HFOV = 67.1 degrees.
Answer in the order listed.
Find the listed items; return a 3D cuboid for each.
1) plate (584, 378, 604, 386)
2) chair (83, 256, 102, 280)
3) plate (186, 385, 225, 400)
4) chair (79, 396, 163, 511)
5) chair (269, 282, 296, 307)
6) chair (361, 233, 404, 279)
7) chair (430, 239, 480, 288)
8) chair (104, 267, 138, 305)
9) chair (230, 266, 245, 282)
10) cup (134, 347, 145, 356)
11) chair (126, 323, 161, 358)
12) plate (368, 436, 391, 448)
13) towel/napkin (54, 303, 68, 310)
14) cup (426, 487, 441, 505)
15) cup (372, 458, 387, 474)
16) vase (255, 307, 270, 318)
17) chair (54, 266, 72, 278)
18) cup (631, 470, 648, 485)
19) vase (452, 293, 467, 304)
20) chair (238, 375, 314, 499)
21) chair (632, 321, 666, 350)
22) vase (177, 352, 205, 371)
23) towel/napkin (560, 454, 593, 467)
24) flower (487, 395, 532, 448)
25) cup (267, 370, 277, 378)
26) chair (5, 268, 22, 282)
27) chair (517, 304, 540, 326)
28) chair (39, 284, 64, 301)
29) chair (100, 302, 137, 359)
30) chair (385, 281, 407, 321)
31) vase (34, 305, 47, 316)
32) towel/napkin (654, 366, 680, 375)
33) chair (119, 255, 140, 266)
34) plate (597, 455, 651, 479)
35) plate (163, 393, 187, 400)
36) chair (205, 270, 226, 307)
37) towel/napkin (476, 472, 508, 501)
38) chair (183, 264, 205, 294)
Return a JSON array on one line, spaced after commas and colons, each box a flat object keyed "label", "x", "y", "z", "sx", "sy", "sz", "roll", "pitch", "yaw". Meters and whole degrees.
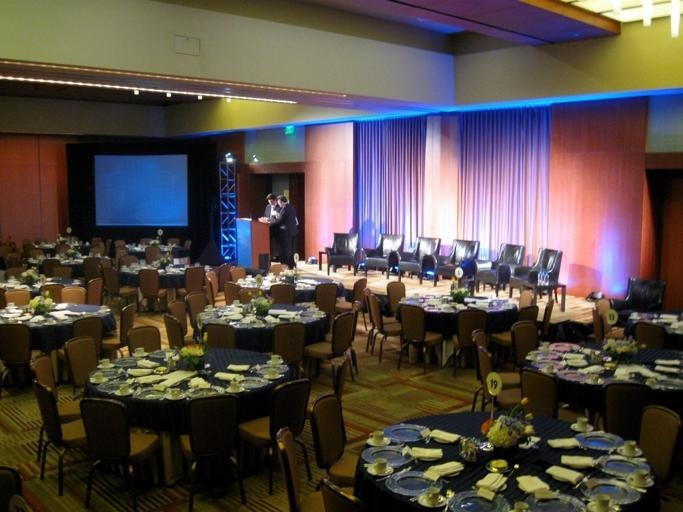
[{"label": "plate", "x": 2.636, "y": 1.309, "z": 5.368, "sx": 0.108, "sy": 0.030, "sz": 0.110, "roll": 3, "pitch": 10, "yaw": 42}, {"label": "chair", "x": -6.211, "y": 0.321, "z": 12.853, "sx": 0.900, "sy": 0.544, "sz": 0.334, "roll": 3, "pitch": 5, "yaw": 36}, {"label": "plate", "x": -1.366, "y": 1.340, "z": 5.110, "sx": 0.283, "sy": 0.052, "sz": 0.213, "roll": -2, "pitch": 6, "yaw": -11}, {"label": "chair", "x": -2.095, "y": 1.797, "z": 4.920, "sx": 0.689, "sy": 1.099, "sz": 0.733, "roll": -2, "pitch": 5, "yaw": -22}, {"label": "chair", "x": -1.060, "y": 0.683, "z": 9.393, "sx": 0.329, "sy": 0.639, "sz": 0.379, "roll": 4, "pitch": 14, "yaw": 0}, {"label": "chair", "x": 1.252, "y": -0.061, "z": 15.015, "sx": 1.226, "sy": 1.408, "sz": 1.317, "roll": -5, "pitch": -8, "yaw": 10}, {"label": "chair", "x": 2.936, "y": 0.220, "z": 13.249, "sx": 1.025, "sy": 1.313, "sz": 1.049, "roll": 2, "pitch": -2, "yaw": -15}, {"label": "chair", "x": -5.005, "y": 0.728, "z": 11.645, "sx": 0.534, "sy": 0.995, "sz": 0.664, "roll": 0, "pitch": 6, "yaw": 16}, {"label": "chair", "x": -2.366, "y": 0.400, "z": 11.546, "sx": 0.274, "sy": 0.395, "sz": 0.310, "roll": -2, "pitch": 5, "yaw": -41}, {"label": "cup", "x": -2.408, "y": 1.134, "z": 6.129, "sx": 0.116, "sy": 0.092, "sz": 0.092, "roll": -2, "pitch": -2, "yaw": -14}, {"label": "chair", "x": -2.579, "y": 1.064, "z": 6.696, "sx": 0.359, "sy": 0.653, "sz": 0.377, "roll": -1, "pitch": 3, "yaw": -30}, {"label": "plate", "x": 0.296, "y": 1.499, "z": 4.190, "sx": 0.106, "sy": 0.043, "sz": 0.113, "roll": -3, "pitch": 5, "yaw": -8}, {"label": "towel/napkin", "x": -4.563, "y": 0.829, "z": 8.370, "sx": 0.127, "sy": 0.041, "sz": 0.131, "roll": 2, "pitch": 7, "yaw": -6}, {"label": "cup", "x": 0.610, "y": 1.589, "z": 3.435, "sx": 0.090, "sy": 0.071, "sz": 0.069, "roll": 4, "pitch": 12, "yaw": 42}, {"label": "cup", "x": 0.278, "y": 1.539, "z": 3.796, "sx": 0.094, "sy": 0.073, "sz": 0.073, "roll": -6, "pitch": 12, "yaw": -16}, {"label": "vase", "x": -1.169, "y": 0.828, "z": 7.556, "sx": 0.134, "sy": 0.162, "sz": 0.138, "roll": -12, "pitch": 36, "yaw": -18}, {"label": "chair", "x": -6.281, "y": 0.355, "z": 11.623, "sx": 0.285, "sy": 0.413, "sz": 0.320, "roll": -1, "pitch": 5, "yaw": -21}, {"label": "cup", "x": 2.063, "y": 1.536, "z": 3.574, "sx": 0.088, "sy": 0.048, "sz": 0.095, "roll": -9, "pitch": 4, "yaw": 1}, {"label": "vase", "x": 1.971, "y": 0.697, "z": 8.595, "sx": 0.190, "sy": 0.183, "sz": 0.197, "roll": 0, "pitch": -1, "yaw": 6}, {"label": "chair", "x": -0.686, "y": 1.701, "z": 5.154, "sx": 0.557, "sy": 1.073, "sz": 0.650, "roll": -1, "pitch": 7, "yaw": -38}, {"label": "chair", "x": 4.127, "y": 1.074, "z": 6.925, "sx": 0.294, "sy": 0.450, "sz": 0.338, "roll": 7, "pitch": 9, "yaw": 37}, {"label": "vase", "x": -1.613, "y": 1.135, "z": 5.588, "sx": 0.246, "sy": 0.183, "sz": 0.257, "roll": 1, "pitch": -4, "yaw": 1}, {"label": "towel/napkin", "x": 1.765, "y": 1.534, "z": 3.844, "sx": 0.236, "sy": 0.053, "sz": 0.140, "roll": 1, "pitch": 4, "yaw": 21}, {"label": "flower", "x": 1.314, "y": 1.299, "z": 4.004, "sx": 0.439, "sy": 0.249, "sz": 0.296, "roll": -19, "pitch": 8, "yaw": -30}, {"label": "cup", "x": -0.737, "y": 1.249, "z": 5.462, "sx": 0.076, "sy": 0.060, "sz": 0.074, "roll": -1, "pitch": 3, "yaw": 0}, {"label": "chair", "x": -7.134, "y": 0.409, "z": 11.212, "sx": 0.285, "sy": 0.412, "sz": 0.320, "roll": 0, "pitch": 0, "yaw": -35}, {"label": "chair", "x": 2.868, "y": 0.895, "z": 7.884, "sx": 0.240, "sy": 0.357, "sz": 0.282, "roll": -1, "pitch": 12, "yaw": -11}, {"label": "chair", "x": -5.024, "y": 0.642, "z": 8.930, "sx": 0.276, "sy": 0.402, "sz": 0.309, "roll": 0, "pitch": 2, "yaw": -34}, {"label": "chair", "x": -3.503, "y": 1.260, "z": 7.851, "sx": 0.523, "sy": 0.890, "sz": 0.504, "roll": -3, "pitch": 0, "yaw": -4}, {"label": "chair", "x": 1.096, "y": 0.876, "z": 9.594, "sx": 0.485, "sy": 0.772, "sz": 0.555, "roll": -4, "pitch": 5, "yaw": 8}, {"label": "vase", "x": -4.556, "y": 0.826, "z": 7.787, "sx": 0.158, "sy": 0.130, "sz": 0.146, "roll": -4, "pitch": -1, "yaw": -41}, {"label": "towel/napkin", "x": 3.587, "y": 1.245, "z": 5.630, "sx": 0.300, "sy": 0.040, "sz": 0.213, "roll": -1, "pitch": 4, "yaw": -6}, {"label": "chair", "x": -5.490, "y": 0.113, "z": 13.311, "sx": 0.292, "sy": 0.437, "sz": 0.346, "roll": 0, "pitch": 1, "yaw": -33}, {"label": "plate", "x": 2.072, "y": 1.544, "z": 3.790, "sx": 0.385, "sy": 0.054, "sz": 0.276, "roll": -1, "pitch": 4, "yaw": -13}, {"label": "plate", "x": -1.601, "y": 1.355, "z": 4.995, "sx": 0.099, "sy": 0.035, "sz": 0.100, "roll": 2, "pitch": 2, "yaw": 36}, {"label": "chair", "x": -2.562, "y": 0.817, "z": 10.641, "sx": 0.486, "sy": 0.847, "sz": 0.456, "roll": -4, "pitch": 5, "yaw": -23}, {"label": "towel/napkin", "x": 1.022, "y": 1.592, "z": 3.561, "sx": 0.111, "sy": 0.050, "sz": 0.133, "roll": 8, "pitch": 26, "yaw": 37}, {"label": "chair", "x": -3.233, "y": 0.531, "z": 11.259, "sx": 0.480, "sy": 0.926, "sz": 0.527, "roll": 0, "pitch": 13, "yaw": -22}]
